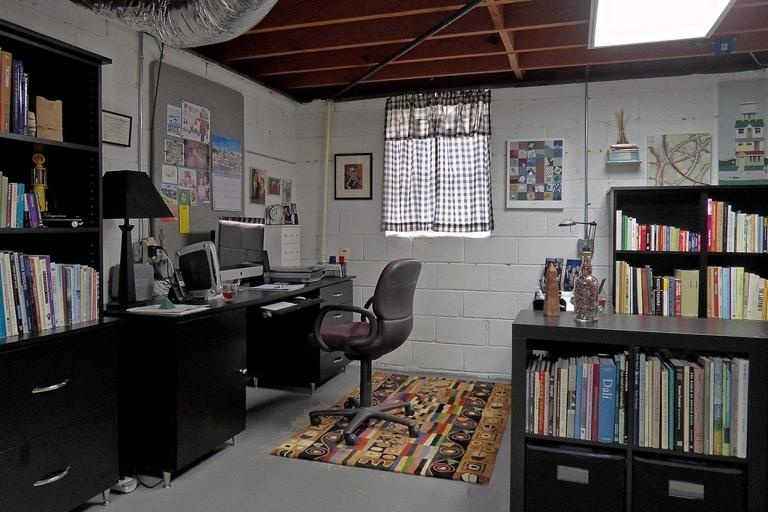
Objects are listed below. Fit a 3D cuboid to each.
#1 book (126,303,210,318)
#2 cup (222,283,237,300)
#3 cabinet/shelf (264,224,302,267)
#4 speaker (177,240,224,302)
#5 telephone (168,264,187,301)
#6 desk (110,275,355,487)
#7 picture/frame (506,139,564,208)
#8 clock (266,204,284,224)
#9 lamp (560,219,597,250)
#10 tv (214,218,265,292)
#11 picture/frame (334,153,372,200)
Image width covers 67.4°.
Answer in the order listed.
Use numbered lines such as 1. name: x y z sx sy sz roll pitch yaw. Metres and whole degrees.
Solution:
1. book: -1.381 0.344 3.632 0.490 0.046 0.236 0 10 2
2. cup: -1.112 0.262 4.177 0.104 0.087 0.094 -3 6 -37
3. cabinet/shelf: -0.973 -0.096 5.436 0.164 0.380 0.423 0 1 18
4. speaker: -1.322 0.123 4.122 0.342 0.339 0.185 -15 16 33
5. telephone: -1.467 0.192 4.046 0.083 0.268 0.206 -1 7 -20
6. desk: -1.071 0.788 4.163 0.791 1.089 1.757 4 11 20
7. picture/frame: 1.410 -0.762 5.273 0.656 0.766 0.030 1 0 15
8. clock: -1.060 -0.397 5.579 0.062 0.176 0.180 2 2 25
9. lamp: 1.703 -0.159 5.100 0.329 0.303 0.297 3 11 18
10. tv: -1.189 0.006 4.684 0.214 0.551 0.612 1 0 20
11. picture/frame: -0.298 -0.808 5.791 0.500 0.550 0.040 0 0 11
